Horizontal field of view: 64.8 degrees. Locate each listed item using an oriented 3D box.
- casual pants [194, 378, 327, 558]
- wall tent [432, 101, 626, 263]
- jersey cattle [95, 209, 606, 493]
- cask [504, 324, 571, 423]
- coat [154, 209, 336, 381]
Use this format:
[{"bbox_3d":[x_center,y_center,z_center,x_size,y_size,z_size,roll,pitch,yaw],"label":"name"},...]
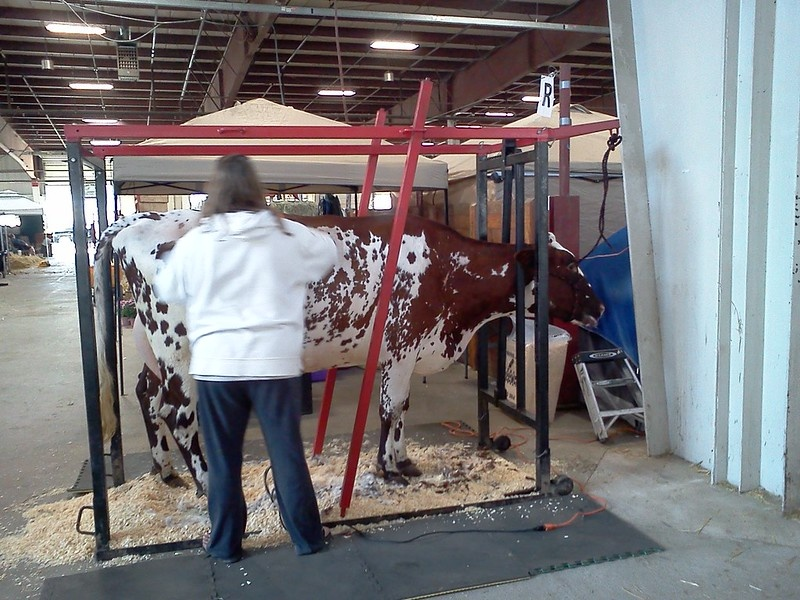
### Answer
[{"bbox_3d":[-0.760,0.766,3.339,0.647,1.454,0.338,1,19,-5],"label":"casual pants"},{"bbox_3d":[1.544,-1.958,8.780,2.484,1.998,2.525,4,10,38],"label":"wall tent"},{"bbox_3d":[-0.338,0.398,4.571,3.612,2.062,0.804,-1,8,-2],"label":"jersey cattle"},{"bbox_3d":[1.034,0.548,4.828,0.391,0.686,0.733,1,11,-2],"label":"cask"},{"bbox_3d":[-0.781,-0.055,3.359,0.932,0.841,0.685,-3,4,-9],"label":"coat"}]
